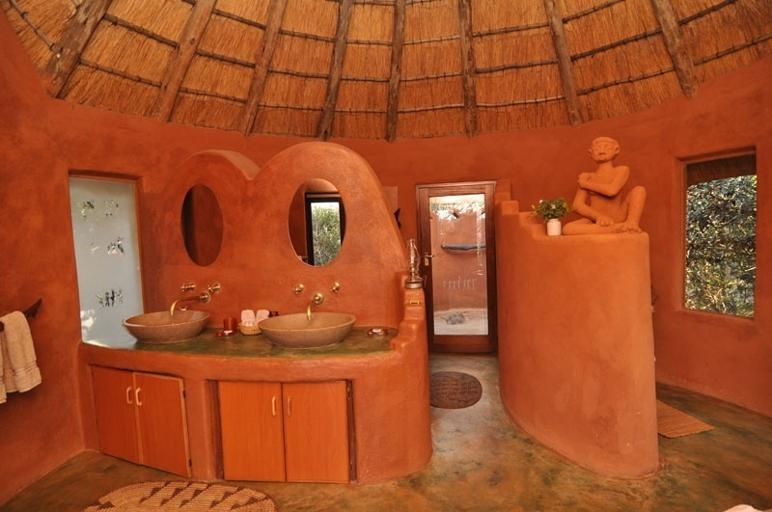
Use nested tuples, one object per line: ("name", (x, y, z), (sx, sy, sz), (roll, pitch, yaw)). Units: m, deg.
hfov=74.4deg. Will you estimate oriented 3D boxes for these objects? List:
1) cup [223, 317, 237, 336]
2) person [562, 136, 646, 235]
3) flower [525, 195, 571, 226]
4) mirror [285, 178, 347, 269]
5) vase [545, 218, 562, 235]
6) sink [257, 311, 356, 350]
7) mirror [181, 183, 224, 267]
("cup", (-1.470, 0.652, 4.730), (0.113, 0.149, 0.148), (0, -3, -9))
("person", (1.916, -0.631, 4.523), (0.653, 0.865, 0.439), (0, 2, 18))
("flower", (1.523, -0.423, 4.768), (0.469, 0.330, 0.476), (1, 2, 7))
("mirror", (-0.637, -0.331, 4.707), (0.780, 1.171, 0.065), (2, 4, 18))
("vase", (1.531, -0.268, 4.595), (0.139, 0.150, 0.141), (0, -2, -3))
("sink", (-0.700, 0.649, 4.450), (0.803, 0.250, 0.519), (-1, 2, -15))
("mirror", (-1.818, -0.302, 4.966), (0.460, 0.749, 0.053), (0, 2, 23))
